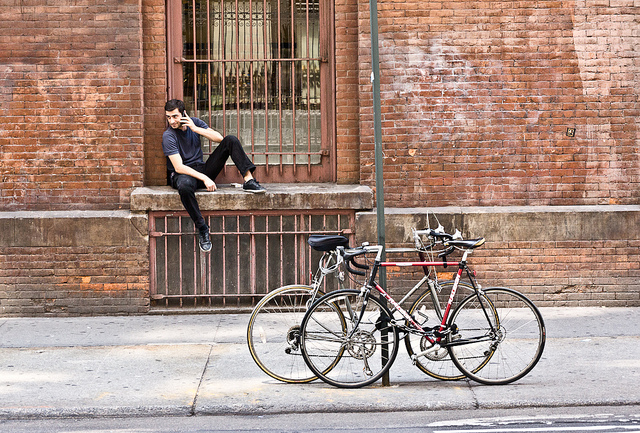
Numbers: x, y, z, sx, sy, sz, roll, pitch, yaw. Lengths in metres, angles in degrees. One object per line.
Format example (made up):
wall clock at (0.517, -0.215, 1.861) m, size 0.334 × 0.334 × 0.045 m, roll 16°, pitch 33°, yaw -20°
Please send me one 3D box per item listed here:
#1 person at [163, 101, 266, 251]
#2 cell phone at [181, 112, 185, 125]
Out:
person at (-1.670, -0.610, 17.332) m, size 1.169 × 2.130 × 0.654 m, roll -3°, pitch 4°, yaw -13°
cell phone at (-1.996, -1.407, 17.246) m, size 0.062 × 0.160 × 0.142 m, roll 8°, pitch -7°, yaw -17°
